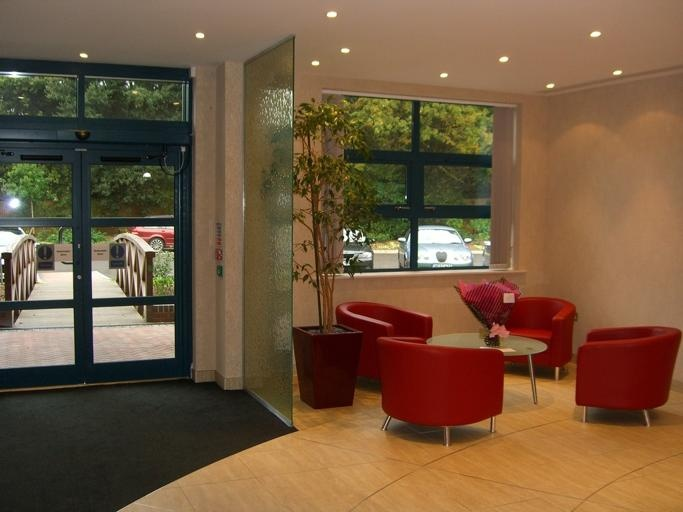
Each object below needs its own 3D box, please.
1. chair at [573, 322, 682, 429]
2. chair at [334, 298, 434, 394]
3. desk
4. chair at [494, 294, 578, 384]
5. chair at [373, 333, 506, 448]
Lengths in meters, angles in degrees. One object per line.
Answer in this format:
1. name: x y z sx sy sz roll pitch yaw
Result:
1. chair: 2.975 1.128 5.730 1.023 1.006 1.107 0 -2 18
2. chair: 0.501 1.010 6.601 1.109 0.779 0.986 -2 3 -41
3. desk: 1.700 1.323 5.885 1.039 0.515 1.030 -1 -2 2
4. chair: 2.631 1.046 7.210 0.945 0.945 0.934 3 0 36
5. chair: 0.861 1.262 5.262 1.003 0.948 1.186 0 -2 -36
